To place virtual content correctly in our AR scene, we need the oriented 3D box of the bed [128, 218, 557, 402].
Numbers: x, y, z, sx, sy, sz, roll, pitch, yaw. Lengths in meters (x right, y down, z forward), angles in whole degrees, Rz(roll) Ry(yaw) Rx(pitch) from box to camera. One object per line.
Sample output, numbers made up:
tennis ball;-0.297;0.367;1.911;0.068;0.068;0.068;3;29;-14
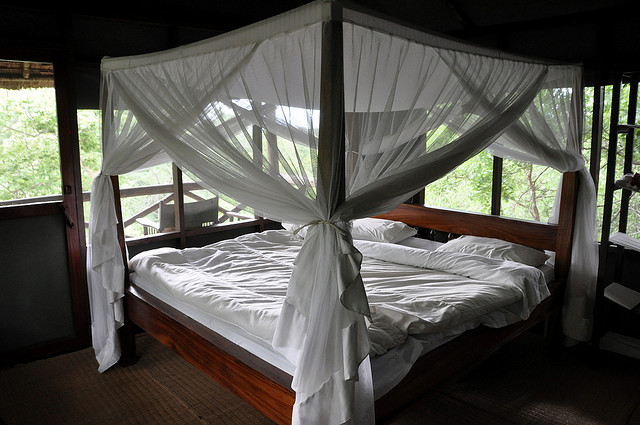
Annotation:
bed;0.341;0.314;3.632;2.770;1.064;2.621;-12;18;-44
